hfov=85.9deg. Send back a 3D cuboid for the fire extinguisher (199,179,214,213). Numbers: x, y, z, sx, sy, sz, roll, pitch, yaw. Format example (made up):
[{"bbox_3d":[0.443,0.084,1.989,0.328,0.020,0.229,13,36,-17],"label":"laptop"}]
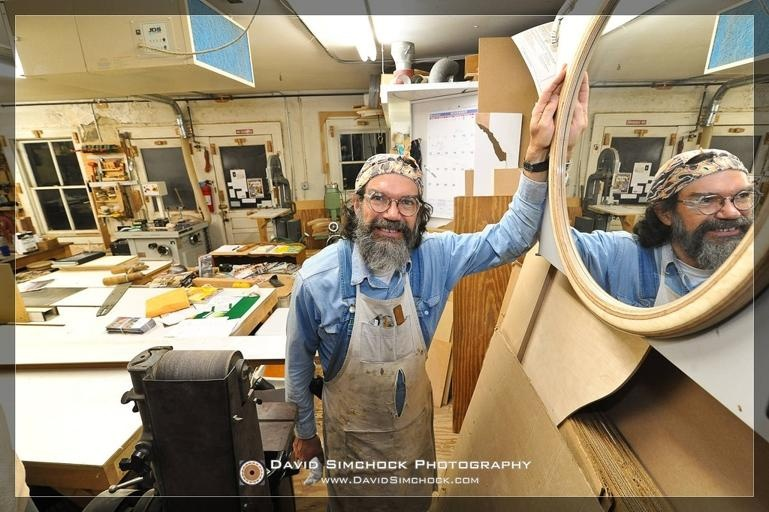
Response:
[{"bbox_3d":[-2.403,-0.774,5.484,0.142,0.453,0.405,-11,16,-20],"label":"fire extinguisher"}]
